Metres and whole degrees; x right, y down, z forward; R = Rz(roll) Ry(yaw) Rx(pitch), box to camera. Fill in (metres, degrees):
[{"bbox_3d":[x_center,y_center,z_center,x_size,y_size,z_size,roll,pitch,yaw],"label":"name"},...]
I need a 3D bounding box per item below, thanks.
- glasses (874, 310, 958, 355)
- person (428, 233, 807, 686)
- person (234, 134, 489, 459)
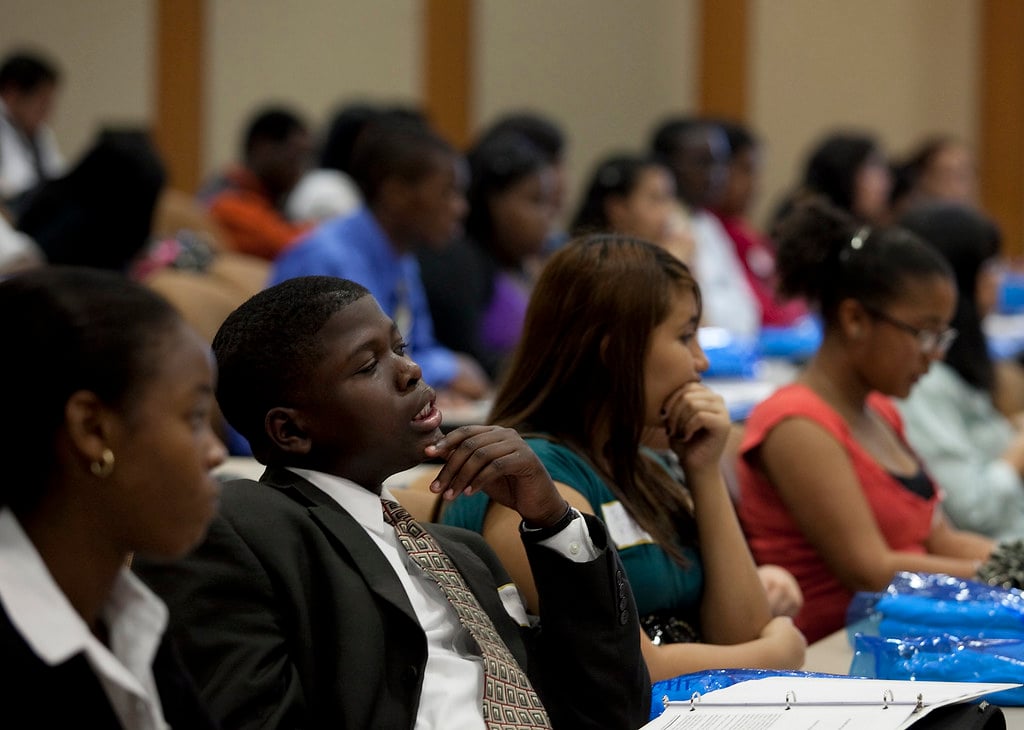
[{"bbox_3d":[0.990,-0.080,2.977,0.130,0.041,0.131,35,3,9],"label":"glasses"},{"bbox_3d":[0.255,0.271,2.558,0.730,1.119,0.724,0,3,33],"label":"person"},{"bbox_3d":[-0.410,-0.376,4.201,0.950,1.285,0.811,0,15,-2],"label":"person"}]
